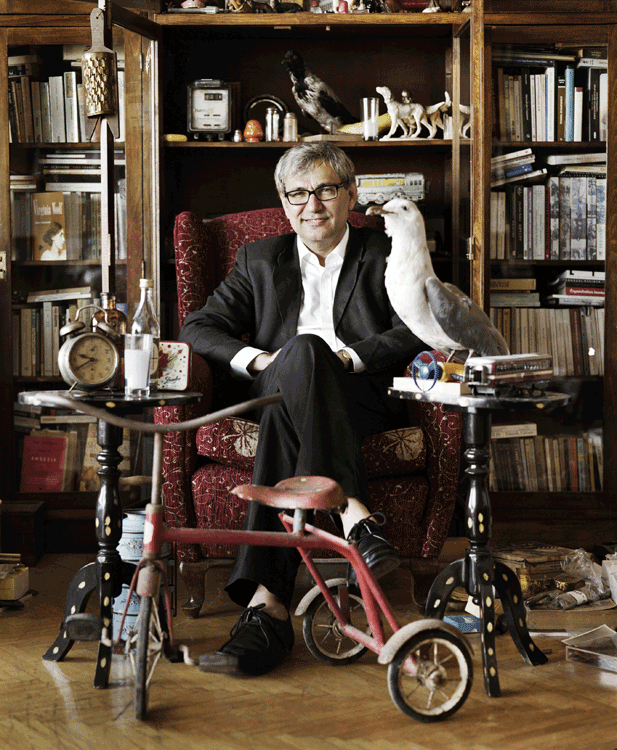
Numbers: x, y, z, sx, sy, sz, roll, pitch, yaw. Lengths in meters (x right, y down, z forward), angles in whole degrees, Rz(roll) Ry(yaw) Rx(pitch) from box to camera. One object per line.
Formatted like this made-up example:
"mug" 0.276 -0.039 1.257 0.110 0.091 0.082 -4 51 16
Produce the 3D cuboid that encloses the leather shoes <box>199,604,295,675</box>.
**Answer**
"leather shoes" -0.131 0.571 1.682 0.113 0.135 0.199 -1 -2 25

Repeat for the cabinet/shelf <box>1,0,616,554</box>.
"cabinet/shelf" 0.015 -0.316 2.468 2.491 1.978 0.672 -1 -5 -1

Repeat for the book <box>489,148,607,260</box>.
"book" 0.907 -0.663 2.948 0.513 0.421 0.266 0 1 2

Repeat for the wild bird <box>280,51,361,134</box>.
"wild bird" 0.082 -1.135 3.199 0.434 0.302 0.141 -10 9 -42

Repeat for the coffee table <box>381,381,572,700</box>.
"coffee table" 0.390 0.324 1.708 0.365 0.636 0.431 1 -3 -24

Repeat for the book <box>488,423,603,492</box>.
"book" 0.895 0.324 3.173 0.571 0.235 0.493 0 -3 4

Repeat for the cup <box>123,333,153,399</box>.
"cup" -0.362 -0.023 1.662 0.065 0.135 0.109 1 -2 -13

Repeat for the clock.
"clock" -0.471 -0.061 1.683 0.138 0.170 0.094 2 6 -22

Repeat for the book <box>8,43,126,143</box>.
"book" -0.936 -1.018 2.849 0.300 0.347 0.077 1 -3 -19

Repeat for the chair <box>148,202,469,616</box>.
"chair" -0.043 0.040 2.356 0.933 1.106 0.757 6 13 -29

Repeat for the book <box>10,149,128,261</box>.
"book" -0.918 -0.625 2.889 0.563 0.429 0.118 0 3 -7
